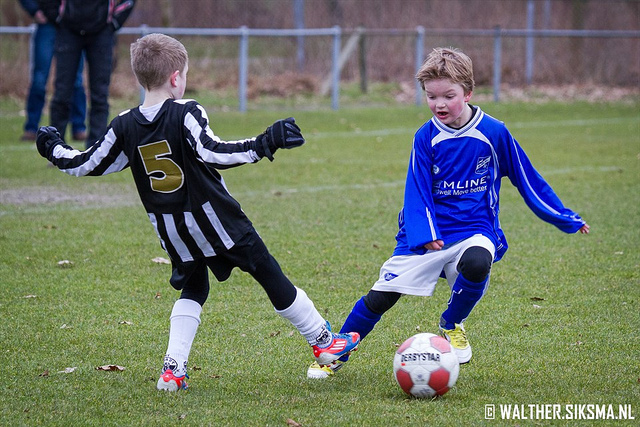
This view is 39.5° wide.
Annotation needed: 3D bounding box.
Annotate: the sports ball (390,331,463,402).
[{"bbox_3d":[0.737,1.065,6.042,0.426,0.449,0.418,6,-27,3],"label":"sports ball"}]
